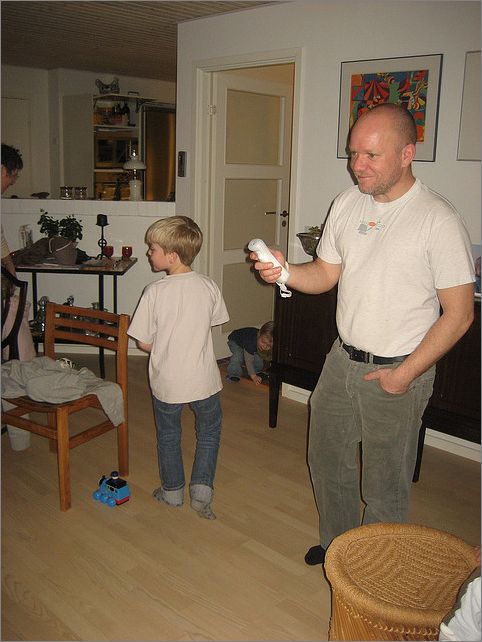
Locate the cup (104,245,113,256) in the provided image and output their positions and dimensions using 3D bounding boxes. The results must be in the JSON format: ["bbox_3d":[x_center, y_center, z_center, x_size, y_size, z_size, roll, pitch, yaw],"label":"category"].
[{"bbox_3d":[-1.069,-0.567,4.022,0.074,0.082,0.073,2,20,-1],"label":"cup"}]

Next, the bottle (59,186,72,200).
[{"bbox_3d":[-1.595,-1.179,4.561,0.100,0.111,0.278,-1,10,-18],"label":"bottle"}]

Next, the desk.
[{"bbox_3d":[-1.293,-0.073,4.174,0.973,0.951,0.988,2,14,3],"label":"desk"}]

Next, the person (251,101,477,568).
[{"bbox_3d":[0.364,0.190,1.464,0.355,1.563,0.557,-6,12,-42],"label":"person"}]

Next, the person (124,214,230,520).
[{"bbox_3d":[-0.265,0.195,2.144,0.399,1.269,0.299,2,9,-3],"label":"person"}]

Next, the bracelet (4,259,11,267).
[{"bbox_3d":[-1.390,-0.347,2.955,0.027,0.065,0.065,2,9,2],"label":"bracelet"}]

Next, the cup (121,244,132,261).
[{"bbox_3d":[-0.933,-0.554,4.064,0.100,0.112,0.104,1,5,0],"label":"cup"}]
